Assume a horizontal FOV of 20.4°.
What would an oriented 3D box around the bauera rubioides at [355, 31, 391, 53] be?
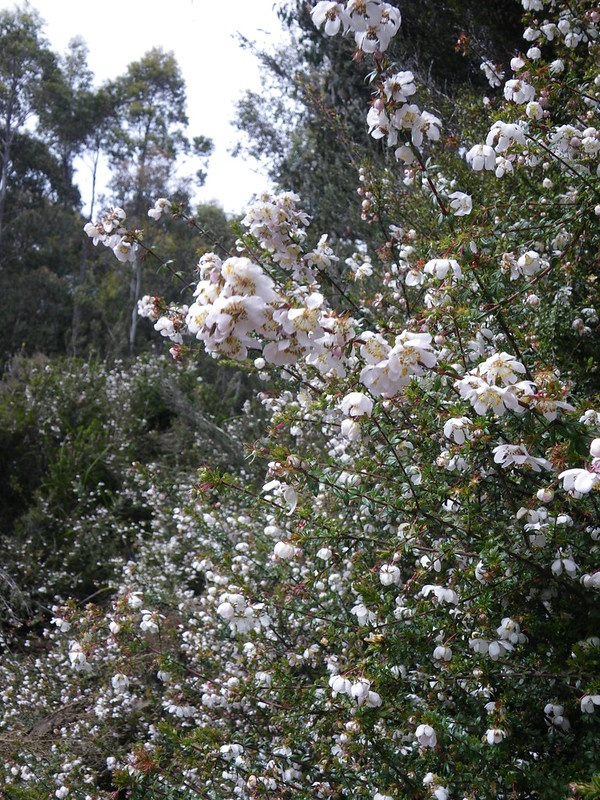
[{"bbox_3d":[0.503,-2.538,11.906,0.242,0.120,0.203,6,-22,-2],"label":"bauera rubioides"}]
